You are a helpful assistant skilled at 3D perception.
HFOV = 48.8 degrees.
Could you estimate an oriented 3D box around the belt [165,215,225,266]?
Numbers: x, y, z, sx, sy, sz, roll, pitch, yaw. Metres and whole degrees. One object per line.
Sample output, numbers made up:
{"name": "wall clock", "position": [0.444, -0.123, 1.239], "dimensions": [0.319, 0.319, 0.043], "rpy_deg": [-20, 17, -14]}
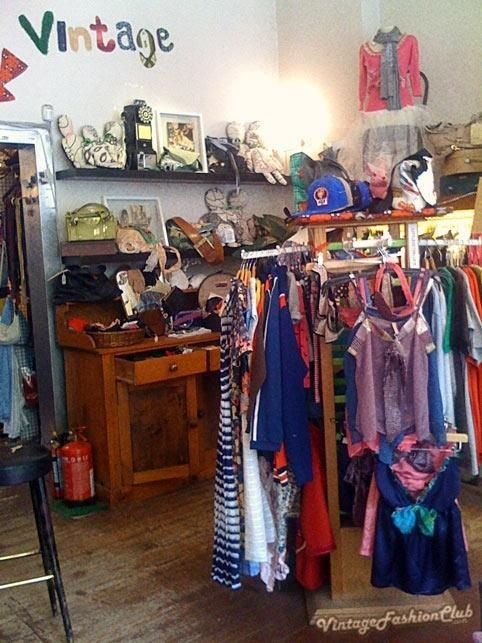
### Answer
{"name": "belt", "position": [-0.322, -0.589, 3.794], "dimensions": [0.351, 0.117, 0.352], "rpy_deg": [45, 16, 29]}

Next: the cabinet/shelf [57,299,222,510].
{"name": "cabinet/shelf", "position": [-0.407, 0.359, 3.597], "dimensions": [1.145, 1.449, 1.044], "rpy_deg": [-4, 3, -43]}

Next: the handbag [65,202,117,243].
{"name": "handbag", "position": [-0.918, -0.582, 3.250], "dimensions": [0.264, 0.199, 0.263], "rpy_deg": [-4, 9, -19]}

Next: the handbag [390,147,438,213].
{"name": "handbag", "position": [0.658, -0.537, 2.001], "dimensions": [0.149, 0.227, 0.242], "rpy_deg": [4, 11, 31]}

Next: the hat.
{"name": "hat", "position": [0.356, -0.478, 2.007], "dimensions": [0.243, 0.114, 0.179], "rpy_deg": [-9, 13, -12]}

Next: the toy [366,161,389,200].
{"name": "toy", "position": [0.532, -0.555, 2.104], "dimensions": [0.127, 0.145, 0.052], "rpy_deg": [-8, 9, -11]}
